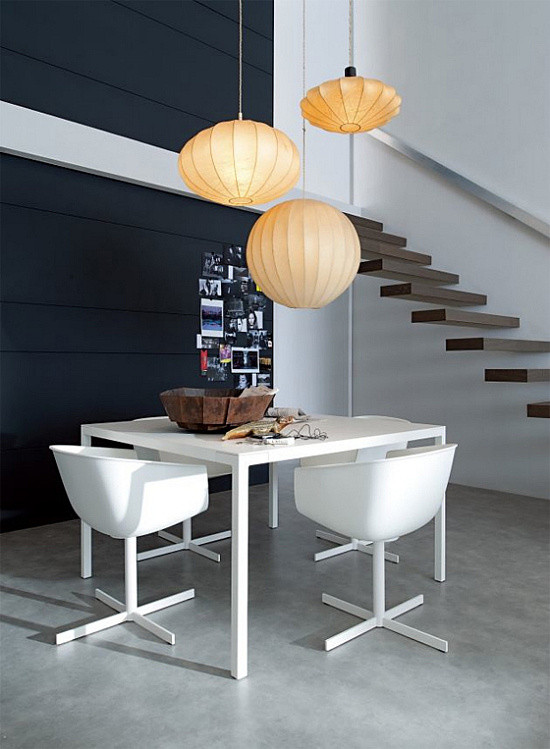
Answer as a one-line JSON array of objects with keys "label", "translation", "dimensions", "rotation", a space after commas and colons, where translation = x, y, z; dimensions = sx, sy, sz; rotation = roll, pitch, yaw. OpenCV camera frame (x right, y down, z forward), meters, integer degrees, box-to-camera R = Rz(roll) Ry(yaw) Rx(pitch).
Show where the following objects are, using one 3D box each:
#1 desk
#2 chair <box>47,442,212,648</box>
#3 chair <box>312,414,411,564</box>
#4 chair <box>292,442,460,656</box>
[{"label": "desk", "translation": [-0.214, 0.496, 2.603], "dimensions": [1.025, 0.653, 1.116], "rotation": [1, -1, -42]}, {"label": "chair", "translation": [-0.509, 0.581, 2.287], "dimensions": [0.589, 0.617, 0.584], "rotation": [-1, -2, -39]}, {"label": "chair", "translation": [0.434, 0.630, 3.336], "dimensions": [0.575, 0.670, 0.589], "rotation": [4, -5, -40]}, {"label": "chair", "translation": [0.364, 0.581, 2.464], "dimensions": [0.664, 0.701, 0.657], "rotation": [1, 1, 44]}]
